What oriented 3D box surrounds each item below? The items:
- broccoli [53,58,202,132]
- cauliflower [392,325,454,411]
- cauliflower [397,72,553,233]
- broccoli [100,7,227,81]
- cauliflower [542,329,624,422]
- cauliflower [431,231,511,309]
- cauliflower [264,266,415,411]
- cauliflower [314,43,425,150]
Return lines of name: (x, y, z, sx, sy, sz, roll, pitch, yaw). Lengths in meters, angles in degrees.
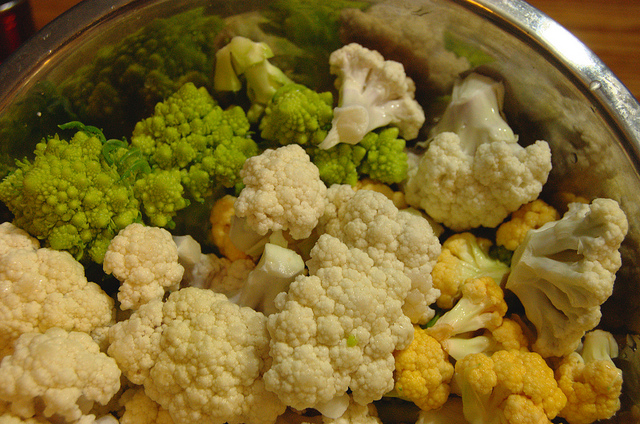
broccoli: (-0.763, -0.439, 2.242, 0.391, 0.159, 0.280, -10, 59, -6)
cauliflower: (0.356, 0.557, 2.132, 0.221, 0.198, 0.291, -3, 96, 2)
cauliflower: (0.577, -0.160, 2.382, 0.500, 0.311, 0.604, -4, 82, 1)
broccoli: (-0.549, -0.623, 2.152, 0.361, 0.263, 0.153, -23, 90, -6)
cauliflower: (0.954, 0.585, 2.153, 0.190, 0.182, 0.369, 0, 76, 11)
cauliflower: (0.556, 0.259, 2.275, 0.273, 0.122, 0.285, -5, 59, 2)
cauliflower: (0.066, 0.425, 2.063, 0.517, 0.163, 0.455, -1, 72, -5)
cauliflower: (0.204, -0.408, 2.287, 0.415, 0.219, 0.431, 16, 52, -21)
